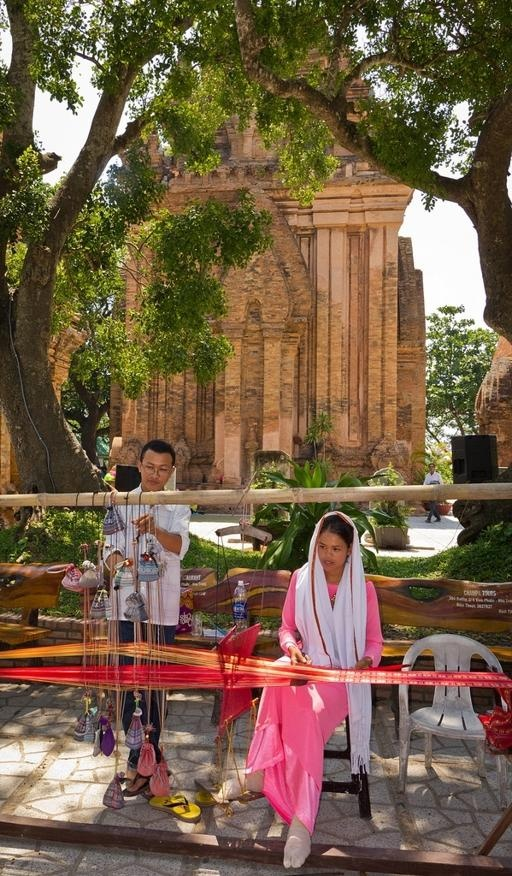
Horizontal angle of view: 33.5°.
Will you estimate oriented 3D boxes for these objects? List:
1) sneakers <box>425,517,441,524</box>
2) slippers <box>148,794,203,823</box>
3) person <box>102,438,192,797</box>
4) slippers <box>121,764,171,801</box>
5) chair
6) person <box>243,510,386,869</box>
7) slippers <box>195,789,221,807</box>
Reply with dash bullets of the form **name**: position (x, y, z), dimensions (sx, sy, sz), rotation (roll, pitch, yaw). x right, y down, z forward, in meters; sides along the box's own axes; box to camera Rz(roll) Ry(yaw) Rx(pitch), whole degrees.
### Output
- **sneakers**: position (4.071, 1.875, 19.504), dimensions (0.253, 0.176, 0.081), rotation (11, -24, -35)
- **slippers**: position (-0.376, 1.703, 3.892), dimensions (0.235, 0.085, 0.179), rotation (0, -4, -7)
- **person**: position (-0.517, 0.856, 3.988), dimensions (0.415, 1.712, 0.618), rotation (0, -4, -10)
- **slippers**: position (-0.525, 1.621, 3.981), dimensions (0.198, 0.179, 0.091), rotation (-8, -31, 22)
- **chair**: position (0.991, 1.382, 4.382), dimensions (0.506, 0.752, 0.783), rotation (-1, -4, 9)
- **person**: position (0.233, 1.067, 3.725), dimensions (0.624, 1.471, 0.896), rotation (-1, -4, 8)
- **slippers**: position (-0.236, 1.701, 4.014), dimensions (0.139, 0.035, 0.101), rotation (11, -3, 10)
